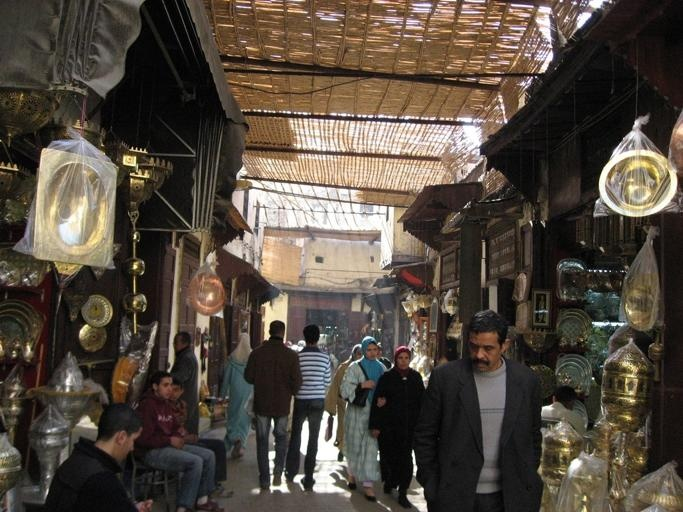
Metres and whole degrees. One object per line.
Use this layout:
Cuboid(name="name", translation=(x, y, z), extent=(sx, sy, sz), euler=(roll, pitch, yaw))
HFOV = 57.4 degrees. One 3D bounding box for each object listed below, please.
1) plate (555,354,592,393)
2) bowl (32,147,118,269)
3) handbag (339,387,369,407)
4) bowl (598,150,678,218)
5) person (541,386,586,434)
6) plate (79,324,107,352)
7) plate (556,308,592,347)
Cuboid(name="plate", translation=(2.650, 1.345, 7.118), extent=(0.376, 0.426, 0.093), euler=(-5, -12, 43))
Cuboid(name="bowl", translation=(-1.570, -0.326, 3.737), extent=(0.485, 0.763, 0.104), euler=(15, -18, -43))
Cuboid(name="handbag", translation=(0.209, 1.585, 7.028), extent=(0.195, 0.223, 0.074), euler=(-4, -15, 35))
Cuboid(name="bowl", translation=(2.031, -0.498, 4.254), extent=(0.426, 0.477, 0.320), euler=(3, 9, 18))
Cuboid(name="person", translation=(2.096, 1.438, 5.897), extent=(0.350, 0.457, 0.703), euler=(-7, -17, 32))
Cuboid(name="plate", translation=(-2.345, 0.778, 5.889), extent=(0.143, 0.248, 0.413), euler=(3, -15, -4))
Cuboid(name="plate", translation=(2.674, 0.820, 7.216), extent=(0.375, 0.439, 0.148), euler=(4, -9, 31))
